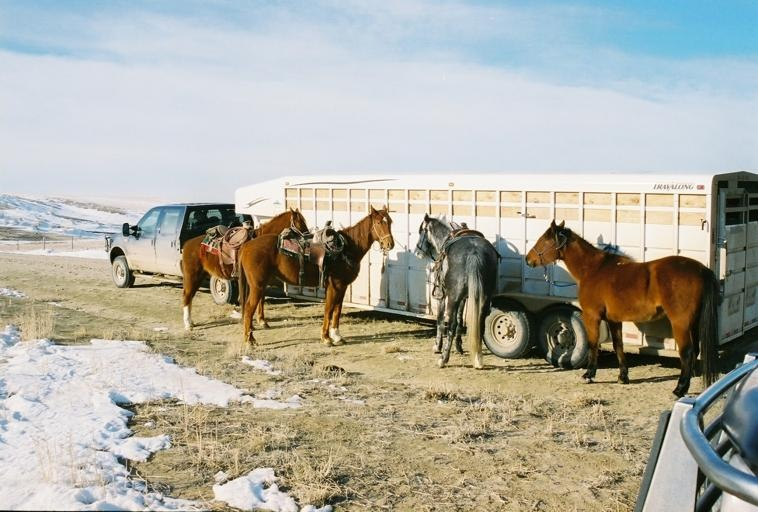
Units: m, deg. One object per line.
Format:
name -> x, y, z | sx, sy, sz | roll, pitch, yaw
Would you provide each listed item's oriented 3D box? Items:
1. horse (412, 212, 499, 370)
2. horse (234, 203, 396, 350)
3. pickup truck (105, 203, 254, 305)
horse -> 1.673, 0.743, 16.806 | 1.462, 2.988, 3.372 | -1, 12, -14
horse -> -1.426, 0.499, 18.369 | 2.820, 2.869, 0.902 | 0, -6, 2
pickup truck -> -6.596, -0.369, 23.780 | 4.389, 2.114, 2.620 | 11, 11, 43
